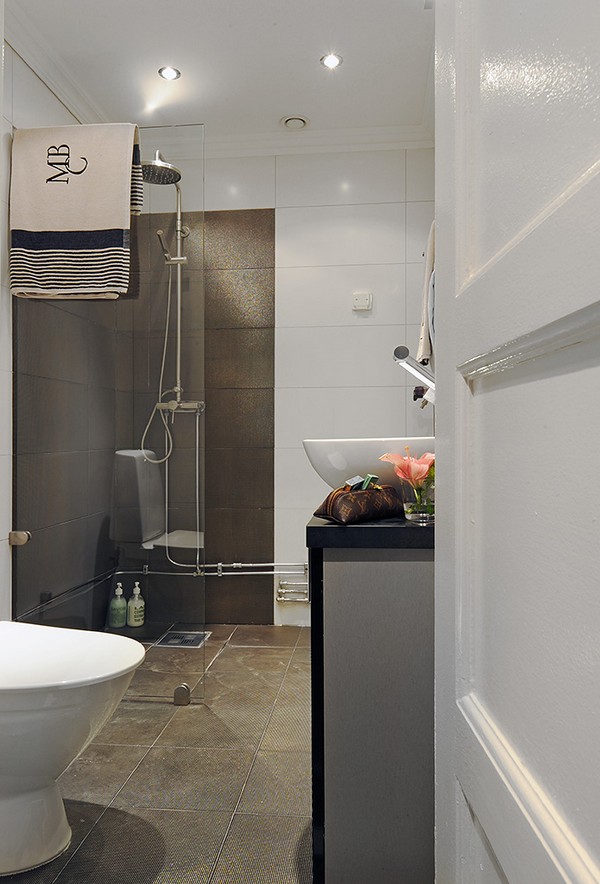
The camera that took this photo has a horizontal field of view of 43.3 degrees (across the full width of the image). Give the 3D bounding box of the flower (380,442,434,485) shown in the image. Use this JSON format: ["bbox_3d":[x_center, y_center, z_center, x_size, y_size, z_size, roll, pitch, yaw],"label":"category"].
[{"bbox_3d":[0.176,0.033,1.232,0.056,0.045,0.061,0,-18,5],"label":"flower"}]

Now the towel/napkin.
[{"bbox_3d":[-0.614,-0.621,2.030,0.376,0.650,0.205,0,4,-4],"label":"towel/napkin"}]

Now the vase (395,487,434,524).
[{"bbox_3d":[0.179,0.100,1.181,0.043,0.058,0.045,-5,-7,37],"label":"vase"}]
